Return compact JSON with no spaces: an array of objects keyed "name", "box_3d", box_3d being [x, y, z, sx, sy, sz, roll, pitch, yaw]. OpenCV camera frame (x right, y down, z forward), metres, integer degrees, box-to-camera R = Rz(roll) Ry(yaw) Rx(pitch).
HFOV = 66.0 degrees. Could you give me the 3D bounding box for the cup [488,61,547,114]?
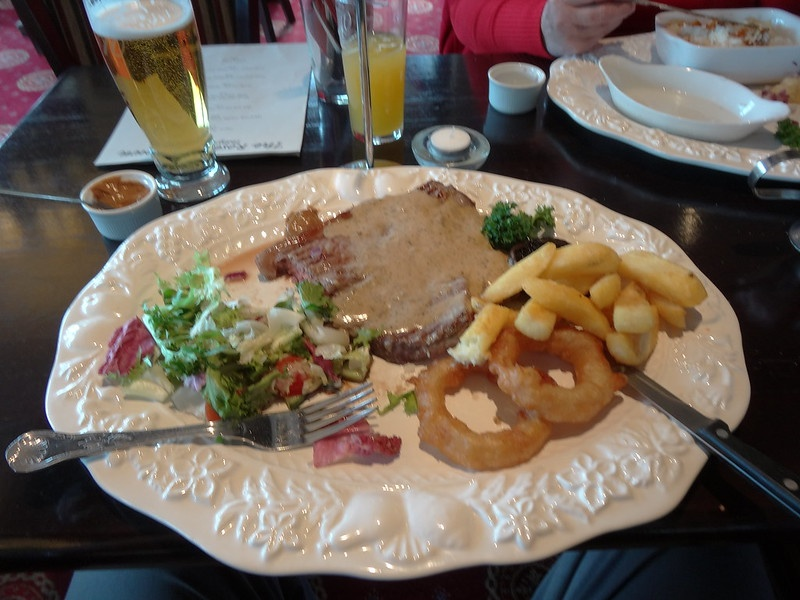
[{"name":"cup","box_3d":[0.647,-1.201,3.473,0.300,0.238,0.341,13,57,9]}]
